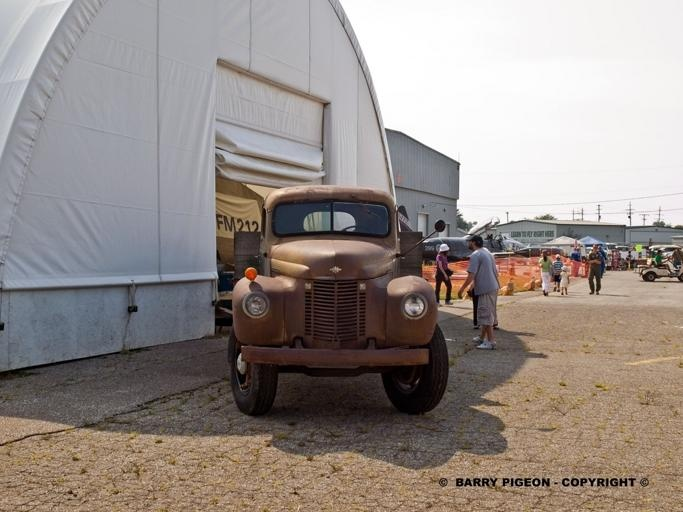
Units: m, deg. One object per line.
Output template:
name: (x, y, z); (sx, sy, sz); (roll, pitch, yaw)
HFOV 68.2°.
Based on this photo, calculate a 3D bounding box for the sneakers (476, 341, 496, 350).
sneakers: (2.833, 1.737, 9.853); (0.395, 0.186, 0.142); (2, -4, -3)

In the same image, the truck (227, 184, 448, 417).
truck: (-0.110, 0.526, 7.346); (1.790, 2.161, 3.757); (-1, -8, -1)

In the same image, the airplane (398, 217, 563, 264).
airplane: (10.445, -1.126, 34.180); (5.430, 2.062, 6.383); (-3, 5, -36)

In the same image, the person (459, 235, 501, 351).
person: (2.778, 0.688, 10.046); (0.650, 2.197, 1.033); (1, 2, 18)

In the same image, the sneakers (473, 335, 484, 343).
sneakers: (2.830, 1.711, 10.398); (0.121, 0.156, 0.349); (0, -13, 3)

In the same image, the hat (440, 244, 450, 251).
hat: (4.033, -0.346, 19.714); (0.457, 0.222, 0.492); (-3, 6, -10)
